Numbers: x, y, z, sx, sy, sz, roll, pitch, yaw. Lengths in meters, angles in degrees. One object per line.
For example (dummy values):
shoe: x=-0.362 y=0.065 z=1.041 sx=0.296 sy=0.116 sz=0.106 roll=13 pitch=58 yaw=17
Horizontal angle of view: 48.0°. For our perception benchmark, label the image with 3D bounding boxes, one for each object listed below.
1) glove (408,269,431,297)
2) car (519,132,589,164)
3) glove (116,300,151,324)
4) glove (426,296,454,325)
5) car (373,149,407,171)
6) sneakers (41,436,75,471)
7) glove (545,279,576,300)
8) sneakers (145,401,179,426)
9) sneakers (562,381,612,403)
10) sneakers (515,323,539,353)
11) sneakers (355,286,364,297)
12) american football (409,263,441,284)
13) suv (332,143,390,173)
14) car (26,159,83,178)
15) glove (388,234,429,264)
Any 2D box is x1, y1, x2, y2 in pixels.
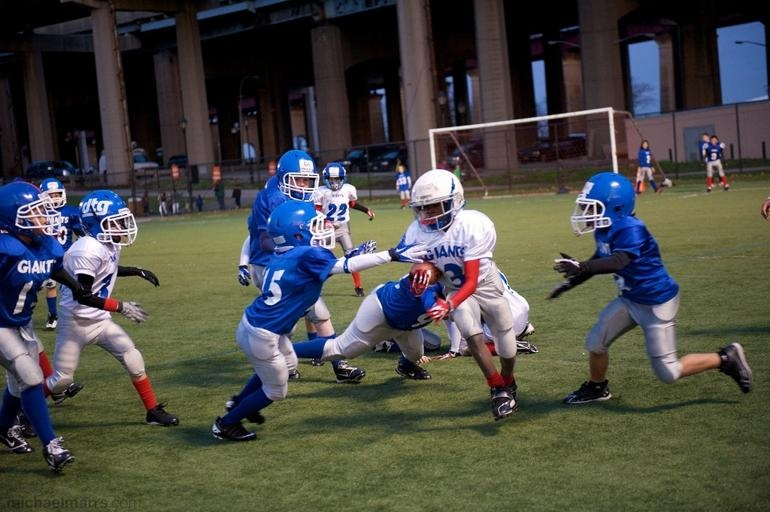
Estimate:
glove: x=0.400 y=0.313 z=10.028 sx=0.268 sy=0.271 sz=0.317 roll=1 pitch=-1 yaw=9
car: x=7.973 y=-5.029 z=38.832 sx=3.405 sy=0.944 sz=1.851 roll=-4 pitch=6 yaw=-18
glove: x=-3.058 y=0.717 z=10.487 sx=0.198 sy=0.259 sz=0.472 roll=-37 pitch=-25 yaw=21
glove: x=0.620 y=0.651 z=9.971 sx=0.340 sy=0.246 sz=0.128 roll=-44 pitch=-11 yaw=17
car: x=0.365 y=-4.686 z=42.327 sx=1.293 sy=0.855 sz=2.134 roll=3 pitch=8 yaw=40
sneakers: x=-3.801 y=2.244 z=9.819 sx=0.602 sy=0.278 sz=0.214 roll=-4 pitch=29 yaw=48
glove: x=2.477 y=0.494 z=12.158 sx=0.516 sy=0.158 sz=0.159 roll=-37 pitch=-49 yaw=16
sneakers: x=-2.717 y=1.971 z=10.523 sx=0.524 sy=0.184 sz=0.185 roll=1 pitch=0 yaw=14
sneakers: x=2.460 y=1.666 z=10.460 sx=0.690 sy=0.212 sz=0.221 roll=-1 pitch=1 yaw=-4
sneakers: x=1.920 y=1.203 z=11.848 sx=0.185 sy=0.516 sz=0.237 roll=21 pitch=60 yaw=28
sneakers: x=-0.461 y=0.665 z=15.535 sx=0.121 sy=0.116 sz=0.203 roll=-4 pitch=-4 yaw=-4
american football: x=0.497 y=0.204 z=10.104 sx=0.338 sy=0.210 sz=0.230 roll=-3 pitch=-5 yaw=-27
suv: x=-1.137 y=-4.971 z=43.040 sx=3.527 sy=1.237 sz=1.794 roll=-2 pitch=4 yaw=-31
car: x=-19.502 y=-5.246 z=49.944 sx=3.433 sy=1.285 sz=1.610 roll=-3 pitch=5 yaw=14
glove: x=0.287 y=-0.039 z=10.233 sx=0.478 sy=0.273 sz=0.632 roll=-5 pitch=5 yaw=2
